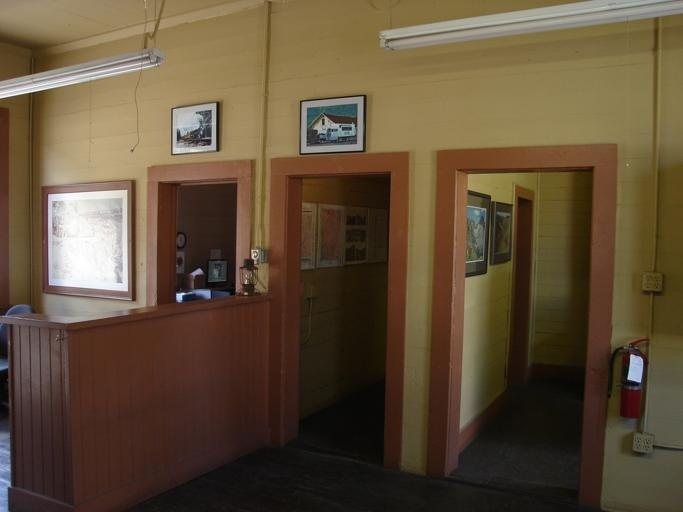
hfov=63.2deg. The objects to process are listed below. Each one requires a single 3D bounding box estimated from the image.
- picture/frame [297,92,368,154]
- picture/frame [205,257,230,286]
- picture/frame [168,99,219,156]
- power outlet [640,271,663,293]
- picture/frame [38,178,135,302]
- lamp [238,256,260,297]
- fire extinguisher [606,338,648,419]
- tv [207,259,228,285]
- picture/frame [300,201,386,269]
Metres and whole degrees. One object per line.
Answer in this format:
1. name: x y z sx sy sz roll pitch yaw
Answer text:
1. picture/frame: -0.051 -1.201 5.009 0.554 0.449 0.025 1 -1 26
2. picture/frame: -1.914 0.258 8.584 0.398 0.429 0.153 2 -3 -39
3. picture/frame: -1.465 -1.308 5.625 0.563 0.454 0.043 1 0 29
4. power outlet: 2.318 0.202 4.160 0.147 0.161 0.024 4 6 18
5. picture/frame: -2.888 -0.166 6.359 1.381 1.274 0.093 2 2 24
6. lamp: -0.874 0.179 5.285 0.173 0.335 0.338 1 7 -10
7. fire extinguisher: 2.148 0.940 4.196 0.263 0.642 0.169 4 6 27
8. tv: -1.910 0.262 8.572 0.353 0.431 0.134 2 -2 -37
9. picture/frame: 0.047 -0.241 6.402 0.075 0.741 1.655 5 8 34
